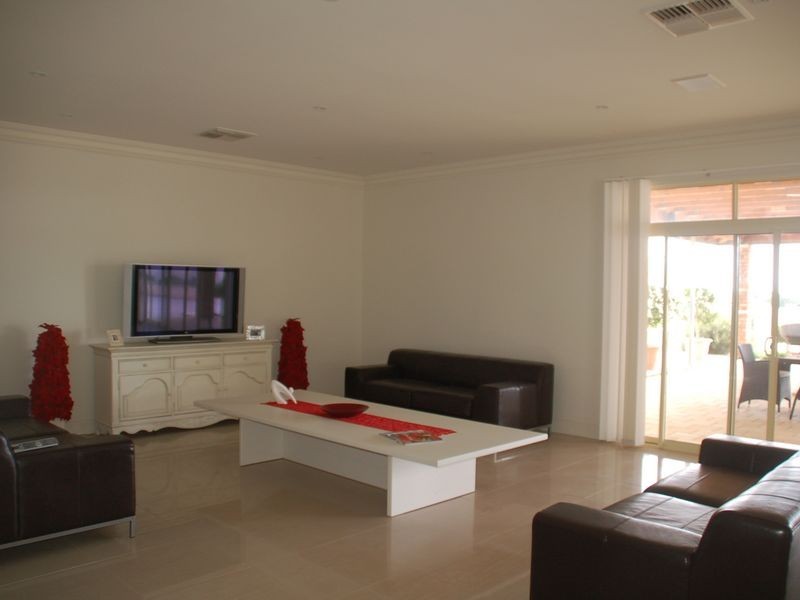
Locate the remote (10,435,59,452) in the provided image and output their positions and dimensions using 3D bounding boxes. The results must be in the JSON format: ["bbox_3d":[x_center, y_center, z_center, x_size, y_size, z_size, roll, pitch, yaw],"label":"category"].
[{"bbox_3d":[-2.569,1.021,4.118,0.226,0.044,0.134,-2,6,-39],"label":"remote"}]

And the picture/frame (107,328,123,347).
[{"bbox_3d":[-3.305,0.429,6.741,0.163,0.059,0.211,-3,16,-30],"label":"picture/frame"}]

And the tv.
[{"bbox_3d":[-2.717,0.038,7.212,1.080,0.657,0.143,-4,8,-44],"label":"tv"}]

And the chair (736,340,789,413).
[{"bbox_3d":[3.704,0.796,6.032,0.587,0.792,0.549,-1,-1,40],"label":"chair"}]

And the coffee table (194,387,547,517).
[{"bbox_3d":[-0.255,1.350,5.168,2.763,0.635,1.197,4,5,38],"label":"coffee table"}]
